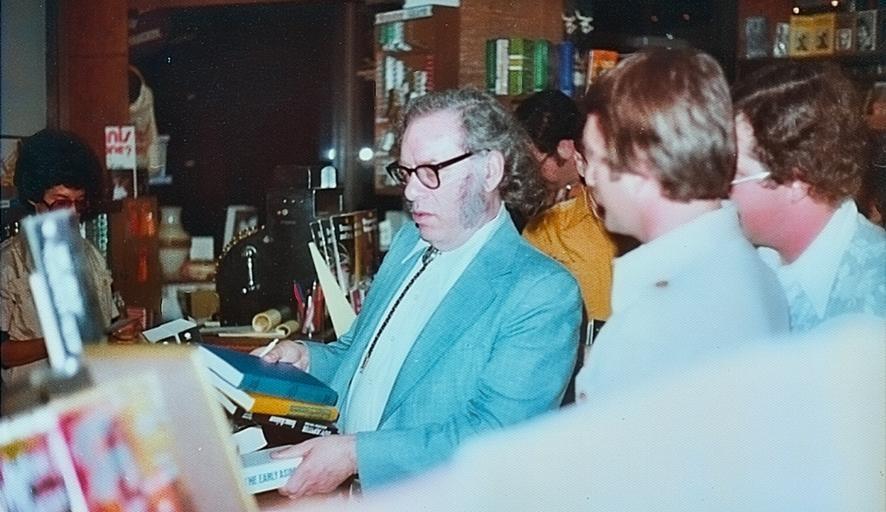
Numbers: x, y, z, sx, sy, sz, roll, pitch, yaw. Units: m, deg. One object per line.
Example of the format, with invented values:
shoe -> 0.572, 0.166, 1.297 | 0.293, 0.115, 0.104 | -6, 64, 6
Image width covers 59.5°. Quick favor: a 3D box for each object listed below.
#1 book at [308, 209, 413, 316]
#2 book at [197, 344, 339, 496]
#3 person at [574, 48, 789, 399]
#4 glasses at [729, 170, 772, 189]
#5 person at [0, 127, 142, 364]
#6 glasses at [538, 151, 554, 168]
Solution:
book -> -0.388, 0.019, 3.606 | 0.115, 0.456, 0.485 | 5, 12, 30
book -> -0.603, 0.549, 2.723 | 0.458, 0.462, 0.269 | -5, 2, -18
person -> 0.916, -0.111, 3.030 | 0.736, 1.274, 1.389 | 7, 22, 30
glasses -> 1.076, -0.264, 2.723 | 0.152, 0.041, 0.038 | -9, -8, 3
person -> -1.582, -0.051, 3.218 | 0.587, 1.051, 0.310 | -5, 2, -3
glasses -> 0.381, -0.354, 2.850 | 0.046, 0.039, 0.045 | -2, 10, 6
